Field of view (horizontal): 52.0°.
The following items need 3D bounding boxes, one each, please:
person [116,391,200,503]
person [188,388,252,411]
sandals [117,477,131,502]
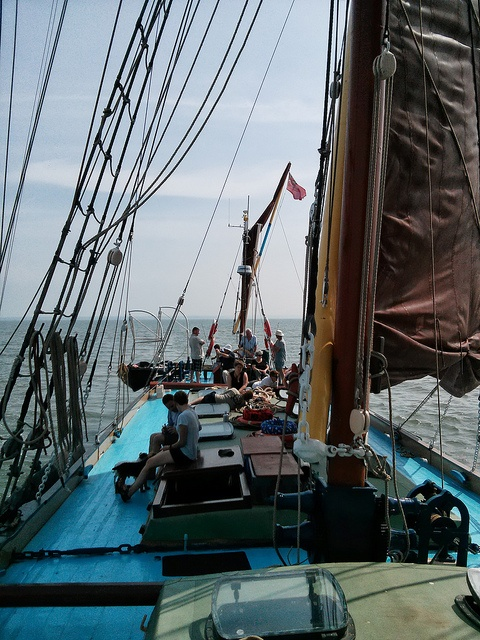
[{"bbox_3d":[-0.870,1.287,5.305,0.814,1.100,0.414,0,0,-13],"label":"person"},{"bbox_3d":[-0.307,1.333,8.280,0.913,0.402,0.291,-15,3,12],"label":"person"},{"bbox_3d":[-1.304,1.877,5.492,0.108,0.306,0.102,-8,-21,1],"label":"sandals"}]
